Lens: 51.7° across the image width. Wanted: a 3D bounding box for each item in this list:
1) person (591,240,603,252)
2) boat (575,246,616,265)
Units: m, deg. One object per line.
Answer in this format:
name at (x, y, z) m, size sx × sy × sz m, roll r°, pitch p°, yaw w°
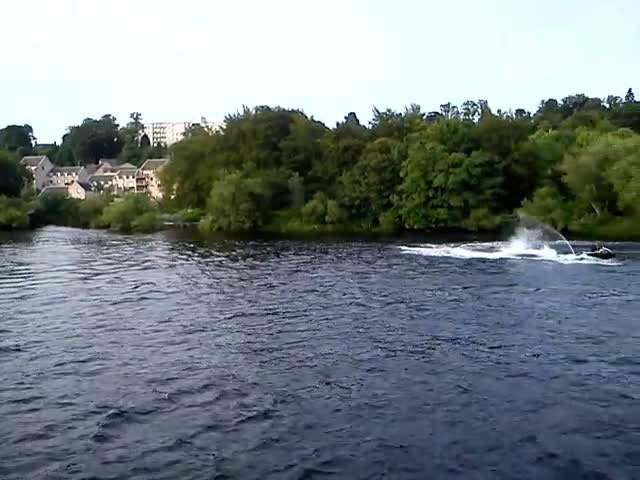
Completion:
person at (22.228, 0.336, 52.642) m, size 0.370 × 1.084 × 0.784 m, roll 19°, pitch -6°, yaw 45°
boat at (21.564, 1.036, 51.248) m, size 2.622 × 1.180 × 3.710 m, roll 1°, pitch 2°, yaw 11°
